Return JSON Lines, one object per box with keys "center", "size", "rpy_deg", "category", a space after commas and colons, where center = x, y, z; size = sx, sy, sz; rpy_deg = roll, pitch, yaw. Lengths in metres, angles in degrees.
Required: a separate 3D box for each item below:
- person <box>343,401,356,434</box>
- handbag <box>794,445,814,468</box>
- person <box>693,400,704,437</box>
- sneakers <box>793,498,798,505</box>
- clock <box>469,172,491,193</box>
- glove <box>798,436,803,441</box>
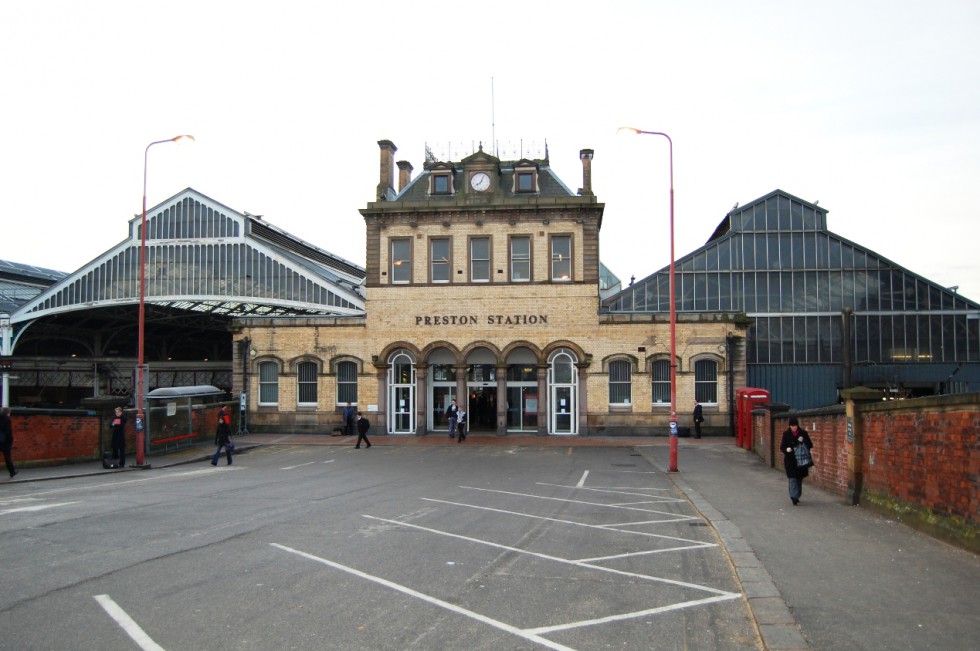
{"center": [-6.653, 4.527, 43.599], "size": [0.567, 1.679, 2.272], "rpy_deg": [-1, 4, -9], "category": "person"}
{"center": [8.286, 3.439, 24.088], "size": [0.500, 0.581, 0.278], "rpy_deg": [-2, 5, -26], "category": "handbag"}
{"center": [9.830, 4.482, 42.911], "size": [0.493, 1.587, 1.723], "rpy_deg": [1, 4, 13], "category": "person"}
{"center": [8.067, 4.612, 24.071], "size": [0.122, 0.156, 0.269], "rpy_deg": [1, 4, 19], "category": "sneakers"}
{"center": [-0.447, -7.169, 45.793], "size": [0.950, 1.056, 0.140], "rpy_deg": [5, -24, 19], "category": "clock"}
{"center": [8.303, 3.037, 24.332], "size": [0.121, 0.106, 0.178], "rpy_deg": [-2, 2, 10], "category": "glove"}
